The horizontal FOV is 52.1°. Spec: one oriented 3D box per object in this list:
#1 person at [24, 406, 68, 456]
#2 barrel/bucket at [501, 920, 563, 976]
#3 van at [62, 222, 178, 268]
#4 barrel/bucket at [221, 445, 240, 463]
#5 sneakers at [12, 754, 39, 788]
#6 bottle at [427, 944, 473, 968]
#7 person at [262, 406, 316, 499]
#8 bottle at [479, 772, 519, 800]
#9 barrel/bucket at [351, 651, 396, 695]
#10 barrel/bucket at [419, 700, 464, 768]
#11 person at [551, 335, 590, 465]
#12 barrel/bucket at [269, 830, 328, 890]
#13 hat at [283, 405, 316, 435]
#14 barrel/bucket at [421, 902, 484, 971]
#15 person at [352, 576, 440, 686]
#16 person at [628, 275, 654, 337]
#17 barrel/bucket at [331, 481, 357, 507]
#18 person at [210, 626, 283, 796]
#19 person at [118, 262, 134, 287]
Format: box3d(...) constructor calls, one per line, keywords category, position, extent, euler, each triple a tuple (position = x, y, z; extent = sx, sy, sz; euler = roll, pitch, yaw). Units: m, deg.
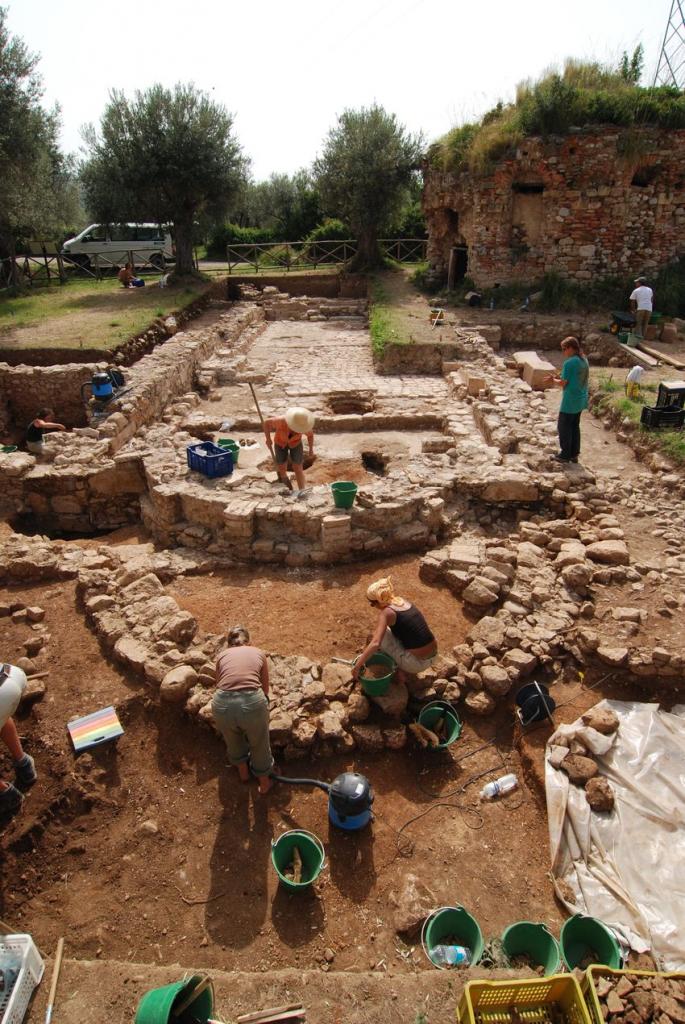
box3d(category="person", position=(-4.592, -1.250, 10.932), extent=(0.590, 1.011, 0.424), euler=(-19, 50, -43))
box3d(category="barrel/bucket", position=(1.073, 2.534, 4.103), extent=(0.280, 0.252, 0.289), euler=(0, 64, 1))
box3d(category="van", position=(-6.918, -8.257, 21.975), extent=(3.415, 1.518, 2.027), euler=(-5, 31, -17))
box3d(category="barrel/bucket", position=(-1.451, -0.784, 9.099), extent=(0.188, 0.164, 0.206), euler=(0, 32, 0))
box3d(category="sneakers", position=(-2.264, 1.872, 4.997), extent=(0.118, 0.113, 0.271), euler=(-11, 59, -7))
box3d(category="bottle", position=(0.621, 2.600, 4.087), extent=(0.147, 0.050, 0.133), euler=(4, 0, -28))
box3d(category="person", position=(-0.584, -0.683, 8.243), extent=(0.462, 1.292, 0.660), euler=(-25, 45, -33))
box3d(category="bottle", position=(1.139, 2.025, 5.151), extent=(0.256, 0.096, 0.133), euler=(-12, 41, -7))
box3d(category="barrel/bucket", position=(0.271, 1.309, 5.592), extent=(0.297, 0.227, 0.316), euler=(-3, 47, 4))
box3d(category="barrel/bucket", position=(0.747, 1.700, 5.507), extent=(0.338, 0.319, 0.429), euler=(3, 16, 14))
box3d(category="person", position=(2.750, -1.318, 8.488), extent=(0.334, 1.555, 1.407), euler=(4, 16, 17))
box3d(category="barrel/bucket", position=(-0.288, 2.252, 4.528), extent=(0.358, 0.263, 0.395), euler=(-2, 16, -3))
box3d(category="hat", position=(-0.475, -1.029, 8.035), extent=(0.410, 0.310, 0.297), euler=(-12, 19, -34))
box3d(category="barrel/bucket", position=(0.637, 2.535, 4.158), extent=(0.277, 0.250, 0.299), euler=(3, 44, -3))
box3d(category="person", position=(0.355, 0.995, 5.648), extent=(0.693, 0.916, 0.632), euler=(4, 11, 39))
box3d(category="person", position=(6.115, -4.194, 14.450), extent=(0.407, 1.223, 1.589), euler=(5, 17, 22))
box3d(category="barrel/bucket", position=(0.016, -0.165, 7.598), extent=(0.270, 0.251, 0.312), euler=(-1, 16, 0))
box3d(category="person", position=(-0.693, 1.488, 4.916), extent=(0.385, 1.071, 0.594), euler=(-3, 16, -7))
box3d(category="person", position=(-6.016, -6.562, 19.583), extent=(0.364, 0.679, 1.456), euler=(-5, 16, -15))
